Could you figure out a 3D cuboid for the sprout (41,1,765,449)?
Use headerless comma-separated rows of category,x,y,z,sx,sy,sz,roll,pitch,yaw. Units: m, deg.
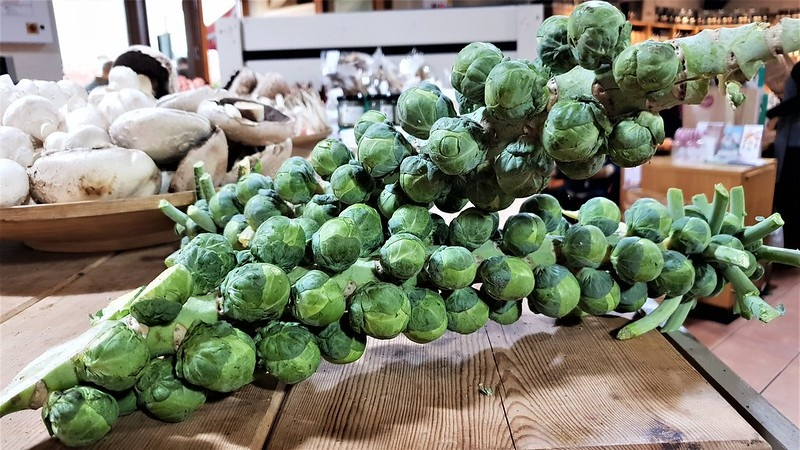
sprout,0.030,-0.025,0.846,1.202,0.618,0.286,-3,18,-6
